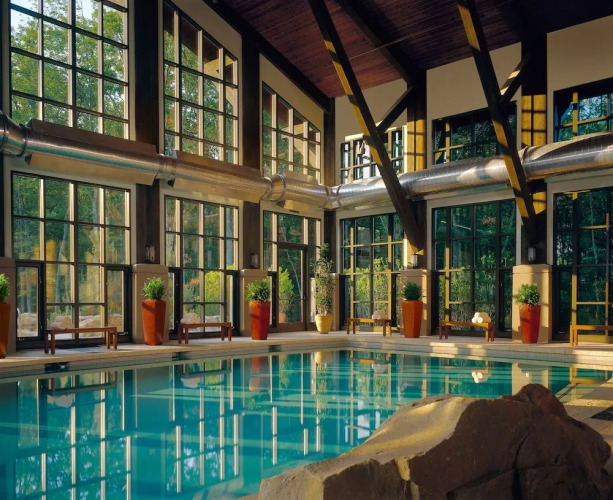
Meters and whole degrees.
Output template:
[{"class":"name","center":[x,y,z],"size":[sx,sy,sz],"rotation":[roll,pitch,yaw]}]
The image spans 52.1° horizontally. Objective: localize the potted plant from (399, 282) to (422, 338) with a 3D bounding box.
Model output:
[{"class":"potted plant","center":[2.781,1.619,16.394],"size":[0.555,1.481,0.922],"rotation":[-6,6,11]}]

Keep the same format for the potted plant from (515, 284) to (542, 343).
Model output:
[{"class":"potted plant","center":[5.174,1.495,14.510],"size":[0.486,1.332,0.436],"rotation":[-6,6,9]}]

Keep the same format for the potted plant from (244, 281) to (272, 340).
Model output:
[{"class":"potted plant","center":[-1.195,1.530,15.598],"size":[0.532,1.394,0.932],"rotation":[-5,7,18]}]

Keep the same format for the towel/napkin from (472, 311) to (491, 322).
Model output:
[{"class":"towel/napkin","center":[4.203,1.640,15.077],"size":[0.267,0.251,0.296],"rotation":[1,-5,-17]}]

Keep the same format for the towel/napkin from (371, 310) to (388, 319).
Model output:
[{"class":"towel/napkin","center":[1.962,1.751,16.882],"size":[0.348,0.197,0.505],"rotation":[-9,7,12]}]
